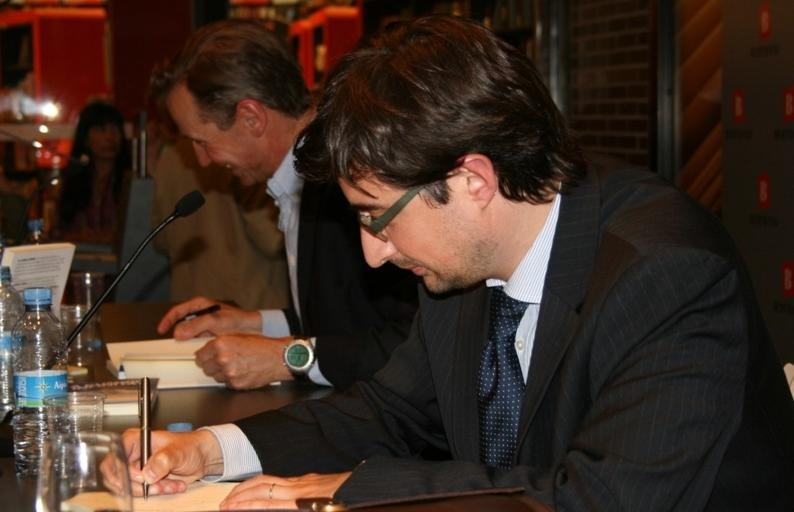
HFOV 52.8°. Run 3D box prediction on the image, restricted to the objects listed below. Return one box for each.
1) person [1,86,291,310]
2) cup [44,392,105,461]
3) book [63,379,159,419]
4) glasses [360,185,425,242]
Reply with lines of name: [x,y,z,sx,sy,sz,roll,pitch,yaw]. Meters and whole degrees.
person: [-1.244,-0.315,4.722,1.276,1.603,0.846,1,-1,34]
cup: [-0.798,0.429,2.014,0.142,0.182,0.178,0,-9,-8]
book: [-0.820,0.406,2.328,0.201,0.048,0.190,-1,3,-7]
glasses: [-0.010,-0.111,2.028,0.131,0.037,0.112,-44,3,7]
